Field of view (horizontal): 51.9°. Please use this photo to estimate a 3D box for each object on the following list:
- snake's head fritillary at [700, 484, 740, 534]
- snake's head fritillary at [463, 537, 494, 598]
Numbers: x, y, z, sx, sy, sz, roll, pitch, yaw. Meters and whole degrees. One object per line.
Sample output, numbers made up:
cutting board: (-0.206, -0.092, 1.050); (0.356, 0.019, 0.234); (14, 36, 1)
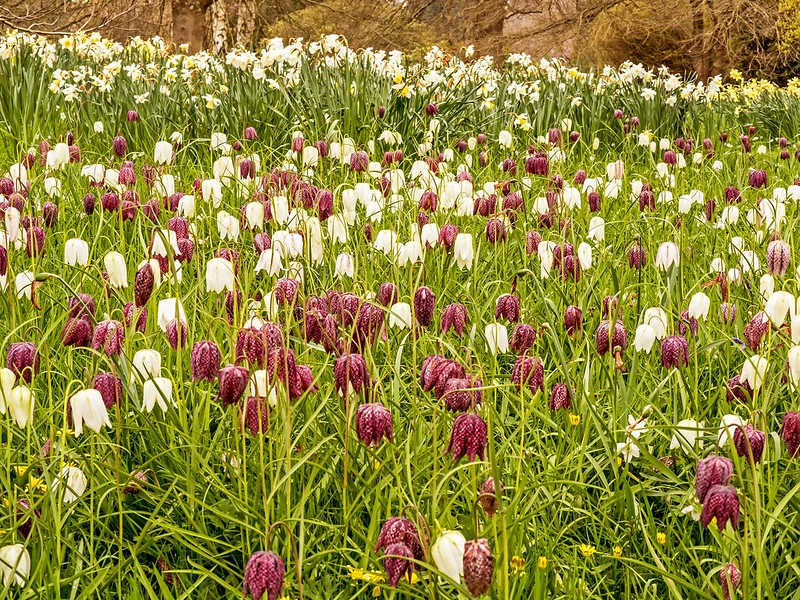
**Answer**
snake's head fritillary: (0.811, 0.516, 2.074); (0.094, 0.120, 0.100); (0, -3, 11)
snake's head fritillary: (0.190, 0.656, 2.000); (0.070, 0.144, 0.075); (1, 17, 8)
